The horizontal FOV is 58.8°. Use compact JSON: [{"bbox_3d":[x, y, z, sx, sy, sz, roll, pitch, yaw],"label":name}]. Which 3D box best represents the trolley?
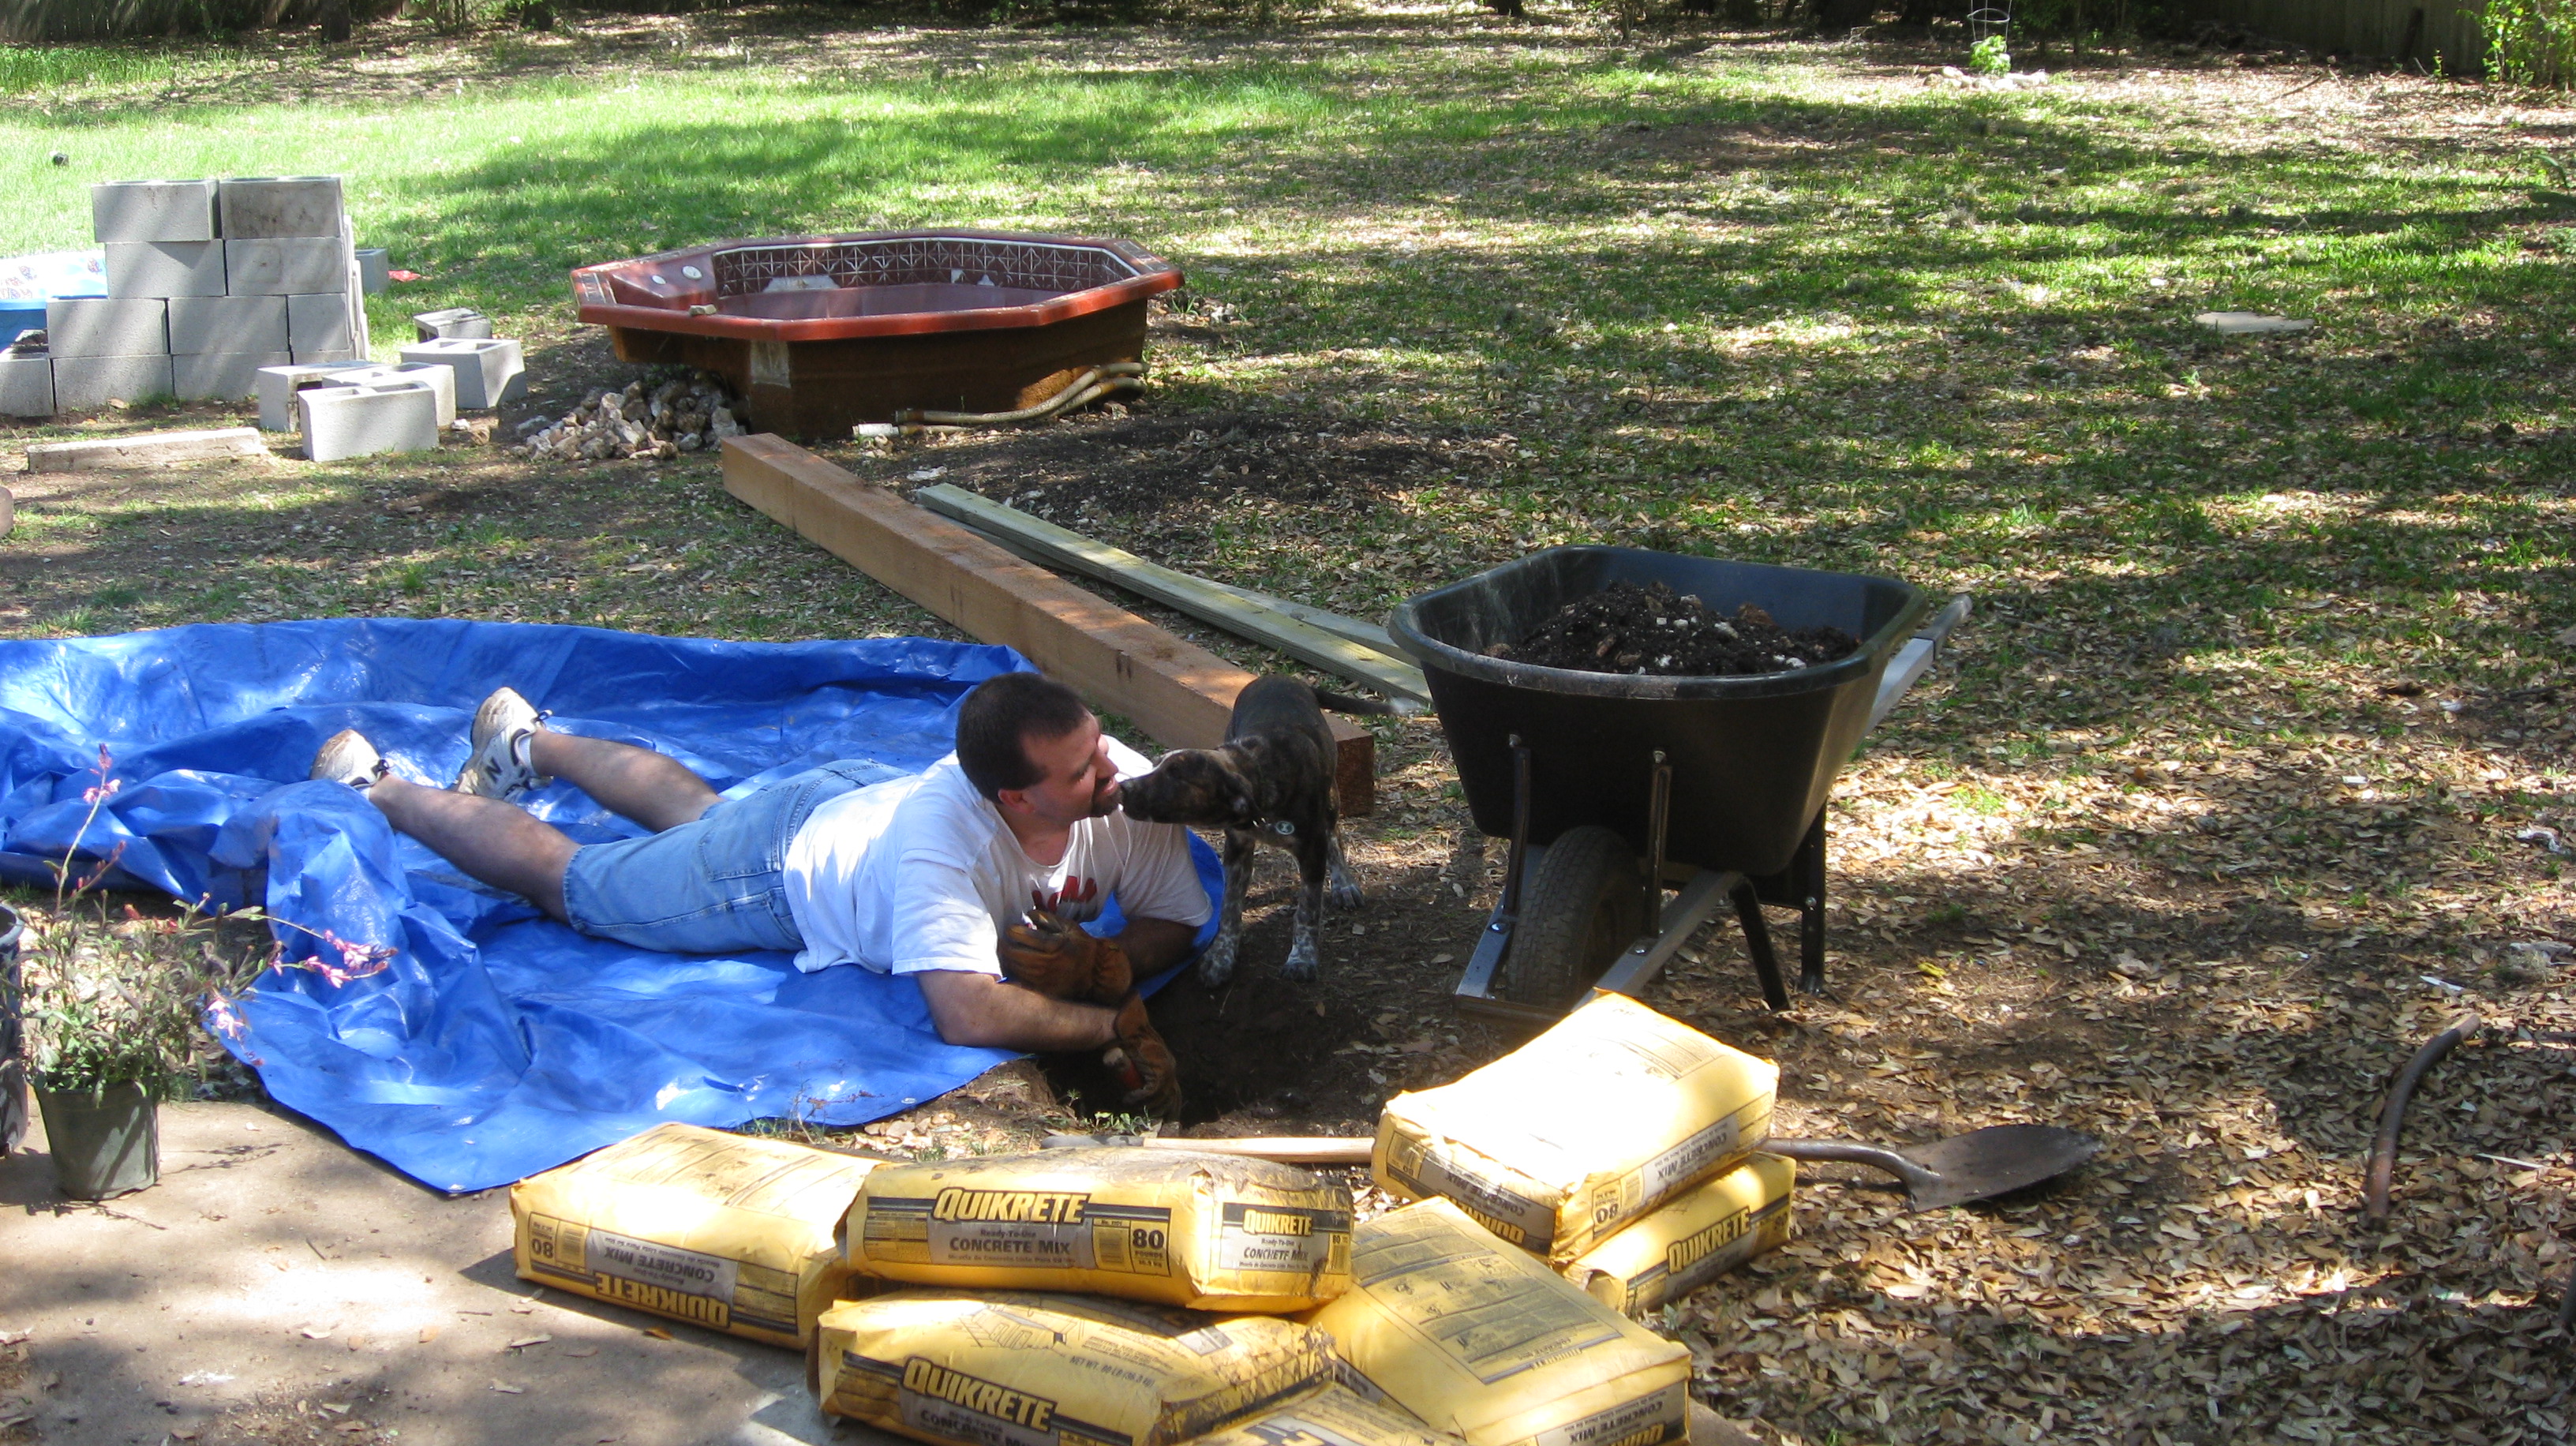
[{"bbox_3d":[1.609,0.085,8.866,1.436,1.154,2.357,13,28,35],"label":"trolley"}]

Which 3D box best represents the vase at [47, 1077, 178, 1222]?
[{"bbox_3d":[-4.053,1.401,7.818,0.359,0.401,0.253,-10,24,-26],"label":"vase"}]

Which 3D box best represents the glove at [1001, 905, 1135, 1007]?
[{"bbox_3d":[-0.845,0.891,8.604,0.350,0.361,0.359,15,25,32],"label":"glove"}]

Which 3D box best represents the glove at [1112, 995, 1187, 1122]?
[{"bbox_3d":[-0.526,1.271,8.663,0.249,0.436,0.304,3,22,4],"label":"glove"}]
